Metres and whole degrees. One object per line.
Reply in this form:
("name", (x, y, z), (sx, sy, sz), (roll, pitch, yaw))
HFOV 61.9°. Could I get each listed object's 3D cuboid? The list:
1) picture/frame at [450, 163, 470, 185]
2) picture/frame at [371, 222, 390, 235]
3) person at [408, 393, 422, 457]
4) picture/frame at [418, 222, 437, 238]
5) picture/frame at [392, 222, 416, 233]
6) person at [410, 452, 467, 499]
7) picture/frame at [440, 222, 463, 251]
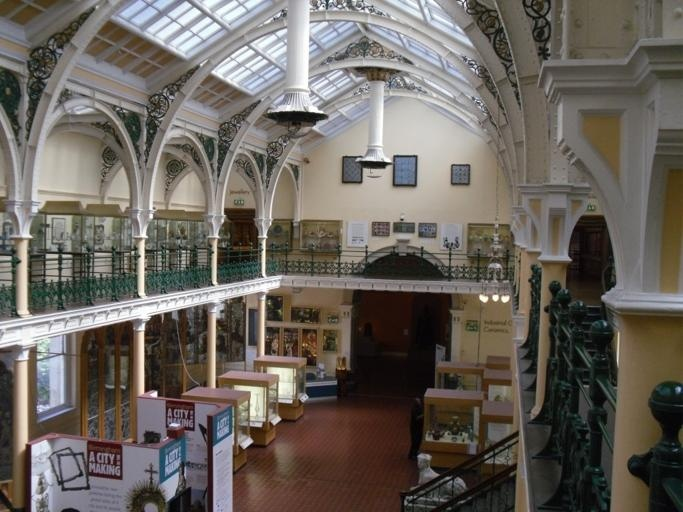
("picture/frame", (5.014, -3.515, 24.064), (0.769, 0.941, 0.093), (1, 1, 6))
("picture/frame", (1.716, -1.223, 24.890), (0.507, 0.482, 0.044), (1, 1, 12))
("person", (2.017, 4.720, 15.507), (0.353, 1.759, 0.529), (1, 1, 7))
("picture/frame", (3.655, -1.086, 24.422), (0.779, 0.659, 0.173), (1, 1, -1))
("picture/frame", (2.681, -1.253, 24.645), (0.905, 0.519, 0.215), (1, 1, 1))
("person", (1.993, 4.621, 11.949), (0.468, 0.794, 1.584), (13, -12, -39))
("picture/frame", (4.675, -0.843, 24.193), (0.974, 1.326, 0.122), (2, -6, 2))
